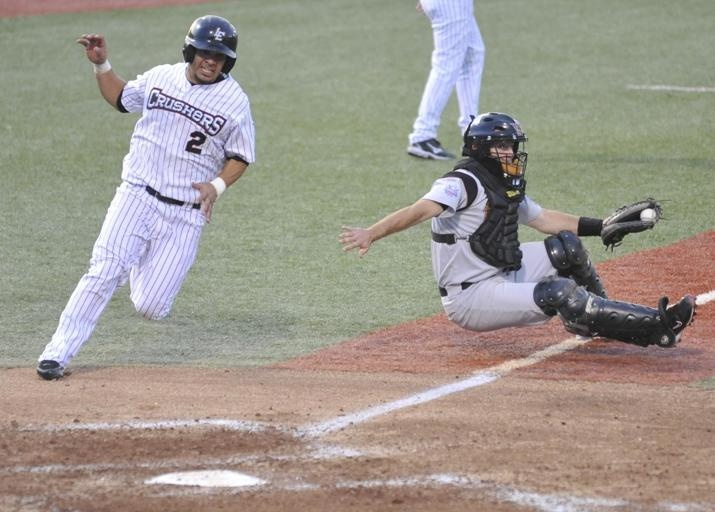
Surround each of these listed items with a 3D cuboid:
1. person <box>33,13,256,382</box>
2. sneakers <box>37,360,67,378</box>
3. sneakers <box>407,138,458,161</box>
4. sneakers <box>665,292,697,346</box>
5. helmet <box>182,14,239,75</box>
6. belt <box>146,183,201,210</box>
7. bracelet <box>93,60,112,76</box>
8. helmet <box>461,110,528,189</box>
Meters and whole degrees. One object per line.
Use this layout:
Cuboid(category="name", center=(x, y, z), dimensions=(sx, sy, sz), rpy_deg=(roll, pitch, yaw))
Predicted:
Cuboid(category="person", center=(-1.379, -0.433, 8.179), dimensions=(1.326, 2.402, 0.803), rpy_deg=(1, 16, -20))
Cuboid(category="sneakers", center=(-2.015, 0.749, 7.878), dimensions=(0.125, 0.052, 0.151), rpy_deg=(13, -1, -40))
Cuboid(category="sneakers", center=(0.718, -1.059, 11.992), dimensions=(0.568, 0.205, 0.176), rpy_deg=(4, 13, 7))
Cuboid(category="sneakers", center=(2.120, 0.415, 7.889), dimensions=(0.178, 0.344, 0.204), rpy_deg=(9, 15, 13))
Cuboid(category="helmet", center=(-1.007, -1.437, 8.194), dimensions=(0.355, 0.392, 0.339), rpy_deg=(3, 14, -8))
Cuboid(category="belt", center=(-1.259, -0.390, 8.164), dimensions=(0.225, 0.044, 0.206), rpy_deg=(13, 4, -44))
Cuboid(category="bracelet", center=(-1.763, -1.301, 8.346), dimensions=(0.169, 0.118, 0.144), rpy_deg=(1, 9, -5))
Cuboid(category="helmet", center=(1.050, -0.770, 8.434), dimensions=(0.647, 0.486, 0.455), rpy_deg=(2, 10, 17))
